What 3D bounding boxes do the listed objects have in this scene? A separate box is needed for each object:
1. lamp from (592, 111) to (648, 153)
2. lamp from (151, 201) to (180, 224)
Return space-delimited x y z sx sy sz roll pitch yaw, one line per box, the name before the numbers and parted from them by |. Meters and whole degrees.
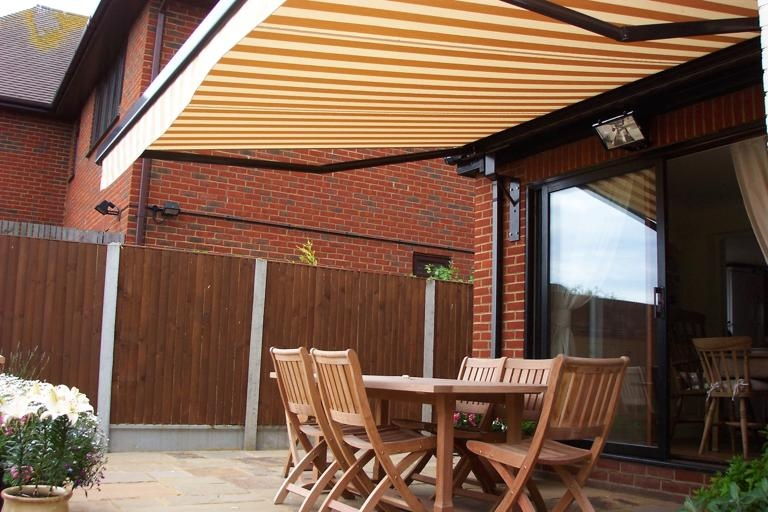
lamp | 3.253 -1.693 9.087 0.465 0.385 0.576 8 -11 -35
lamp | -4.583 -0.960 13.901 0.561 0.388 0.377 6 -14 -32
